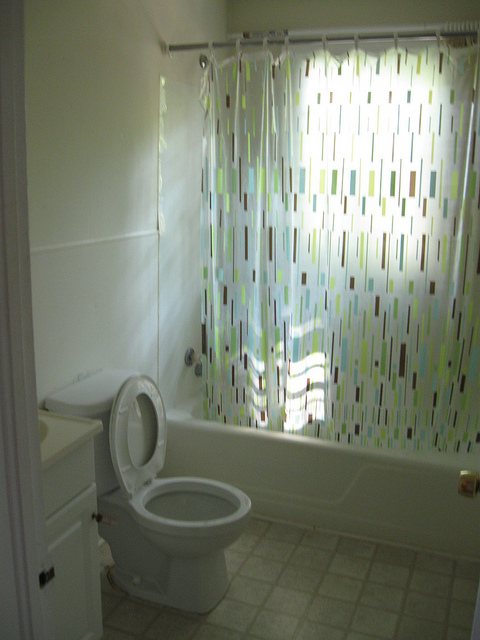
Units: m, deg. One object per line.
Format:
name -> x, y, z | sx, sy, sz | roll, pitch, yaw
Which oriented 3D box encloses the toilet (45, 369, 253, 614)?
toilet -> -0.282, 0.627, 1.878 | 0.471, 0.920, 0.386 | 7, 4, 14
